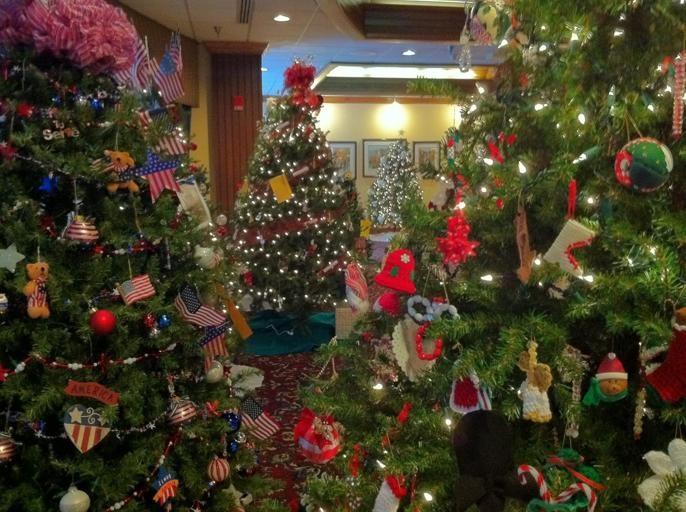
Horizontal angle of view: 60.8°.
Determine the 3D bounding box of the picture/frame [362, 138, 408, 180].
[{"bbox_3d":[0.767,-1.771,10.580,0.960,0.883,0.043,0,0,-7],"label":"picture/frame"}]
